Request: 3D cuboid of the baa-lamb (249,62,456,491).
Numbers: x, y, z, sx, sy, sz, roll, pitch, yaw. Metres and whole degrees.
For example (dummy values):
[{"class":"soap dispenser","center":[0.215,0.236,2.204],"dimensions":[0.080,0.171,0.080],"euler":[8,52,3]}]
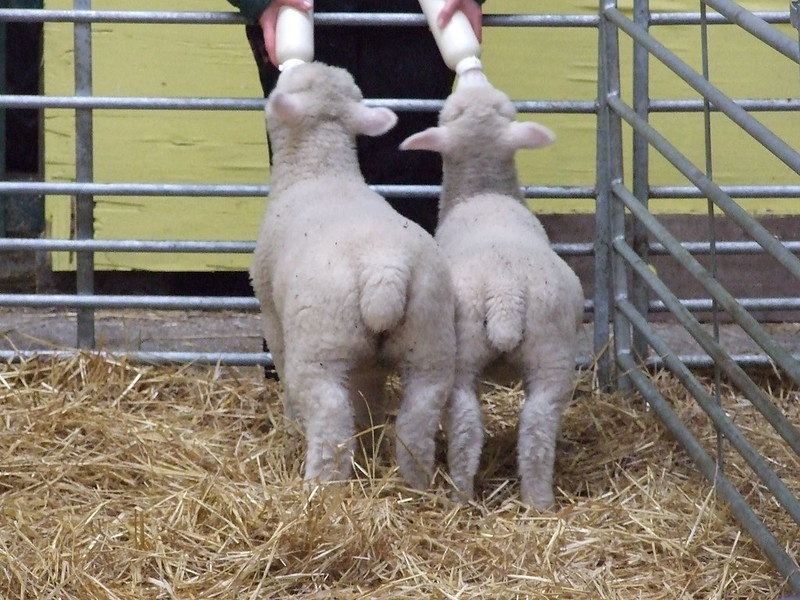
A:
[{"class":"baa-lamb","center":[-0.193,-0.082,6.284],"dimensions":[0.631,1.384,0.819],"euler":[-6,19,-20]}]
